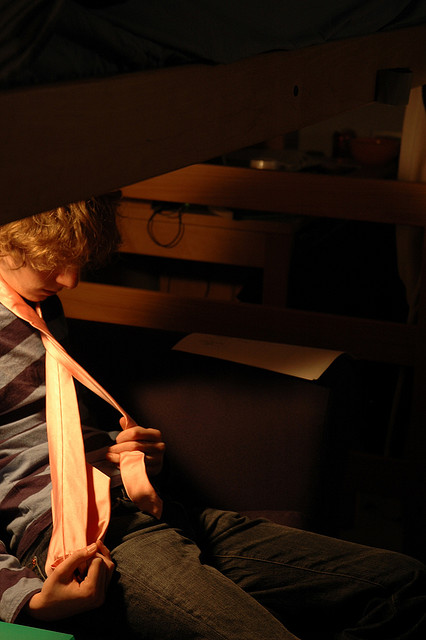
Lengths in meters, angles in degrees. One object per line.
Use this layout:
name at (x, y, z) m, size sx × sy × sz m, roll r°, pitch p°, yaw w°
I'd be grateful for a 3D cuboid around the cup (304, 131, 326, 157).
cup at (0.265, -0.463, 1.413) m, size 0.061 × 0.078 × 0.051 m, roll 6°, pitch 6°, yaw 7°
